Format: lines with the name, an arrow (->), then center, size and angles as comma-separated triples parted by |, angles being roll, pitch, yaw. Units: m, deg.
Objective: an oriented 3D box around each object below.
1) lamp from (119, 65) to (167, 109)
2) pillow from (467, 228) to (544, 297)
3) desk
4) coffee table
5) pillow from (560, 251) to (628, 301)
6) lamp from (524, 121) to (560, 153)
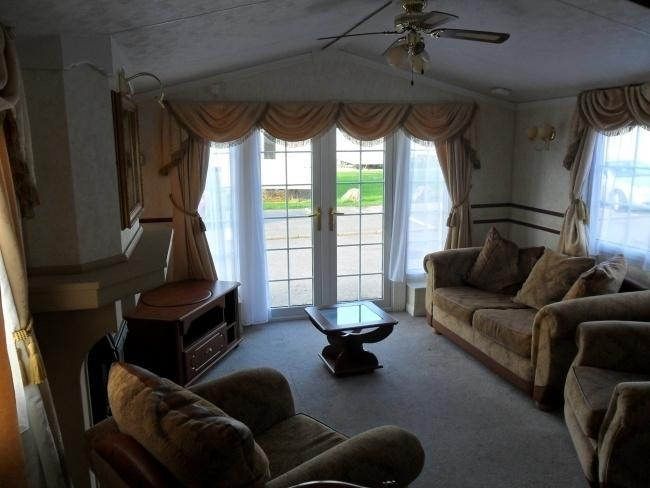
lamp -> -1.370, -1.194, 3.939 | 0.525, 0.314, 0.516 | -6, 17, -21
pillow -> 1.681, 0.207, 4.980 | 0.589, 0.615, 0.180 | 31, 10, 31
desk -> -1.197, 0.760, 4.597 | 0.566, 0.655, 1.043 | 4, 13, 18
coffee table -> 0.215, 0.824, 4.524 | 0.653, 0.487, 0.629 | -3, 11, -14
pillow -> 2.162, 0.280, 4.084 | 0.531, 0.314, 0.310 | -5, 12, -24
lamp -> 2.185, -1.081, 5.329 | 0.227, 0.359, 0.342 | -4, 5, -22
